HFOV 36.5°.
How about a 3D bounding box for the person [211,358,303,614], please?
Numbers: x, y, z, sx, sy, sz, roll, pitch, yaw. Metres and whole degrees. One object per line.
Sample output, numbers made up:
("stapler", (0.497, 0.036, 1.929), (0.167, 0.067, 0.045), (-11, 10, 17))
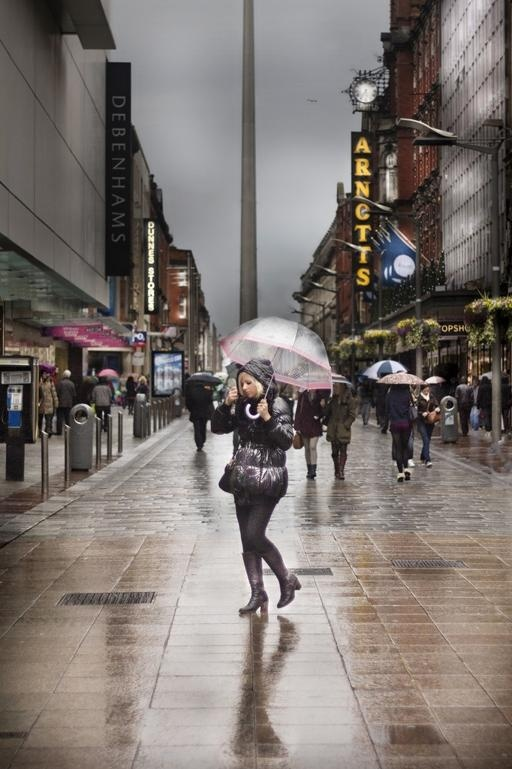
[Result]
("person", (0.017, 0.667, 5.076), (0.487, 1.355, 0.585), (-2, -1, -40))

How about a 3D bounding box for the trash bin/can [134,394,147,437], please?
("trash bin/can", (-3.566, 0.984, 23.789), (0.396, 1.009, 0.784), (-2, -1, -7))

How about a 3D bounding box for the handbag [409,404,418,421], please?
("handbag", (2.748, 0.501, 13.485), (0.080, 0.322, 0.292), (1, -11, 13))

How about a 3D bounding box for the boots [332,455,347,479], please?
("boots", (1.562, 1.483, 13.819), (0.203, 0.481, 0.458), (2, -6, -3))

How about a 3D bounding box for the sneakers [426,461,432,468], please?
("sneakers", (3.416, 1.570, 15.255), (0.061, 0.089, 0.194), (-4, -15, -4))

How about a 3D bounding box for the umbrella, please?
("umbrella", (0.226, -0.274, 6.069), (0.653, 0.608, 0.694), (20, -25, -1))

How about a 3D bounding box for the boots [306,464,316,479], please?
("boots", (0.974, 1.557, 13.711), (0.128, 0.213, 0.230), (-2, -1, 3))

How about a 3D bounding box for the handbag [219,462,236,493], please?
("handbag", (-0.192, 0.615, 5.078), (0.059, 0.189, 0.155), (4, 17, -4))

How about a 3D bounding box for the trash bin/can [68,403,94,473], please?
("trash bin/can", (-3.226, 0.995, 14.254), (0.446, 0.882, 1.070), (-2, -1, -15))

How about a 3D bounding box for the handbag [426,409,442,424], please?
("handbag", (3.499, 0.640, 15.292), (0.226, 0.275, 0.505), (-3, -1, 18))

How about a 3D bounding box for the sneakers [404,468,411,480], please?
("sneakers", (2.596, 1.537, 13.174), (0.104, 0.332, 0.123), (-2, 8, -2))

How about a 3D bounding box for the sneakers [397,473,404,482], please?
("sneakers", (2.455, 1.573, 13.078), (0.114, 0.147, 0.193), (-3, -1, 10))
